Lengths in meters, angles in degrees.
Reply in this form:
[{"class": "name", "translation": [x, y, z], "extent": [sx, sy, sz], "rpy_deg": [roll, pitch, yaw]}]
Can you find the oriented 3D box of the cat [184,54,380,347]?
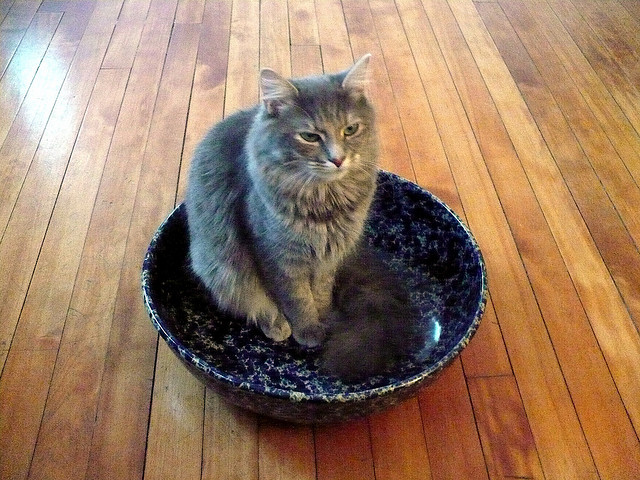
[{"class": "cat", "translation": [-0.140, -0.122, 1.833], "extent": [0.614, 0.692, 0.624], "rpy_deg": [6, 56, 5]}]
